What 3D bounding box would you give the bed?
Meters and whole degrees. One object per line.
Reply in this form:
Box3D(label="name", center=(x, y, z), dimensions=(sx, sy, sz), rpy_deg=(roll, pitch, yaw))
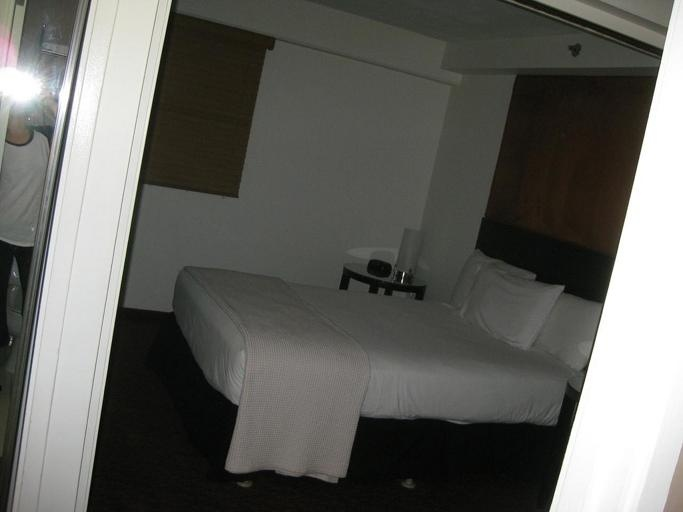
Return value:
Box3D(label="bed", center=(0.104, 0.445, 3.540), dimensions=(2.369, 1.259, 2.472), rpy_deg=(10, 4, -9))
